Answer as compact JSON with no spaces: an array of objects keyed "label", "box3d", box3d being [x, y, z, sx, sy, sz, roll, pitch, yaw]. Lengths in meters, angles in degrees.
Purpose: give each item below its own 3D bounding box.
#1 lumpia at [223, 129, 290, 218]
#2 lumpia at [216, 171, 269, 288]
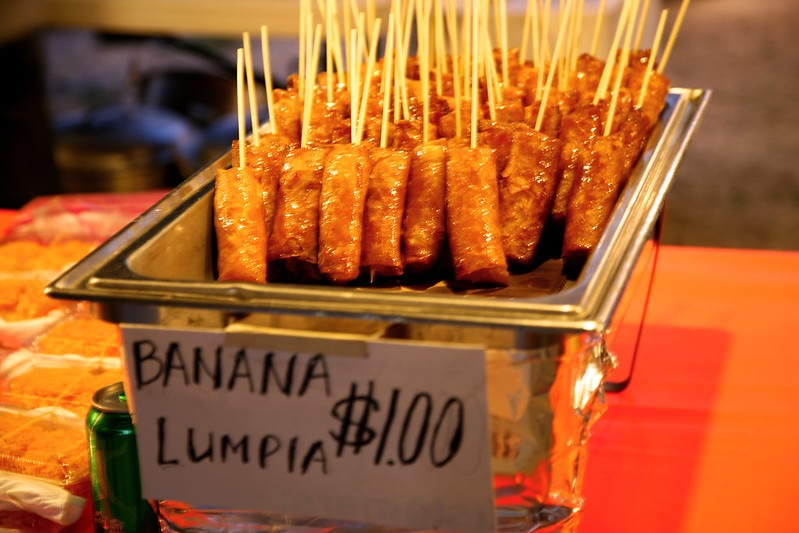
[{"label":"lumpia","box3d":[-0.435,-0.290,2.450,0.177,0.271,0.084,4,-4,4]},{"label":"lumpia","box3d":[-0.478,-0.117,2.235,0.138,0.387,0.110,9,-30,-33]}]
